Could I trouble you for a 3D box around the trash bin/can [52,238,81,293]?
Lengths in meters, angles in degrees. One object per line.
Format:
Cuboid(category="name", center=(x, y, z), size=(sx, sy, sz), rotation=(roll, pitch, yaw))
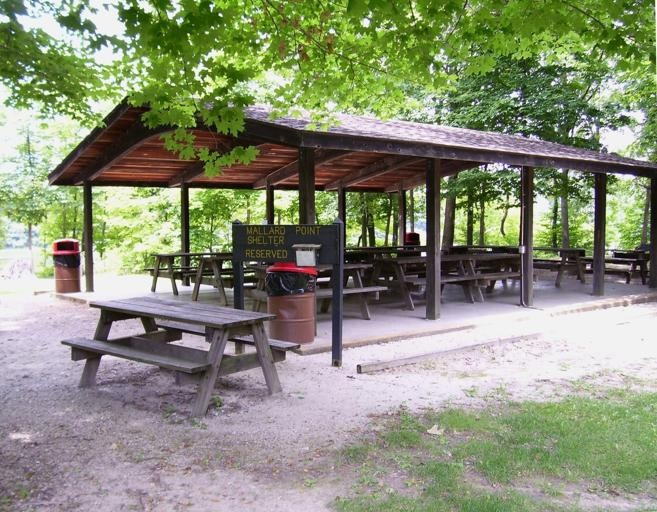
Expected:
Cuboid(category="trash bin/can", center=(-6.360, 0.243, 12.536), size=(0.585, 1.288, 0.601), rotation=(-4, 9, -25))
